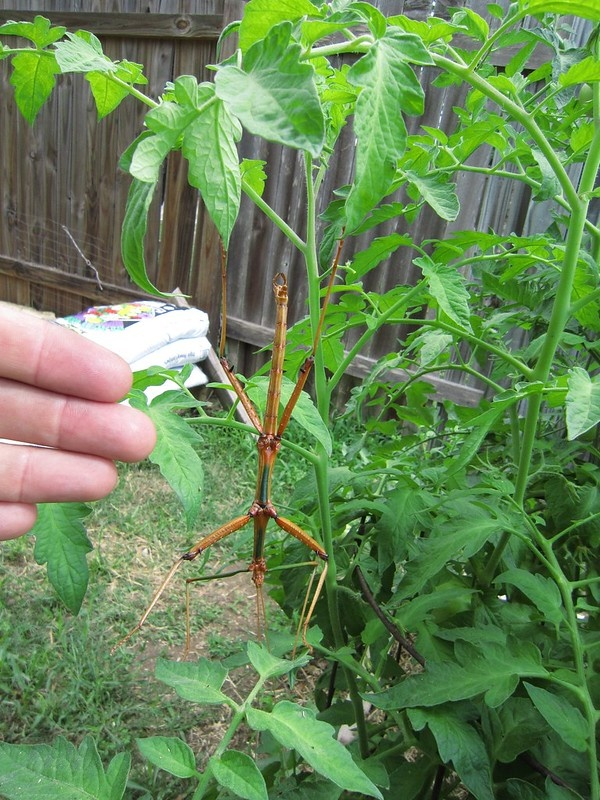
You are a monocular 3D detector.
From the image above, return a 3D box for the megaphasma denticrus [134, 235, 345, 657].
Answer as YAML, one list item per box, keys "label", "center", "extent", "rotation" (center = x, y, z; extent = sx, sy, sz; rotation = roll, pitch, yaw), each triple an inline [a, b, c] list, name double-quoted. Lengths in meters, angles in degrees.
- label: "megaphasma denticrus"
  center: [-0.122, 0.148, 1.243]
  extent: [0.651, 0.837, 0.239]
  rotation: [3, 5, -9]

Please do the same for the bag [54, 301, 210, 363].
- label: "bag"
  center: [-1.276, -0.588, 4.706]
  extent: [1.065, 0.273, 1.045]
  rotation: [-12, 22, -42]
